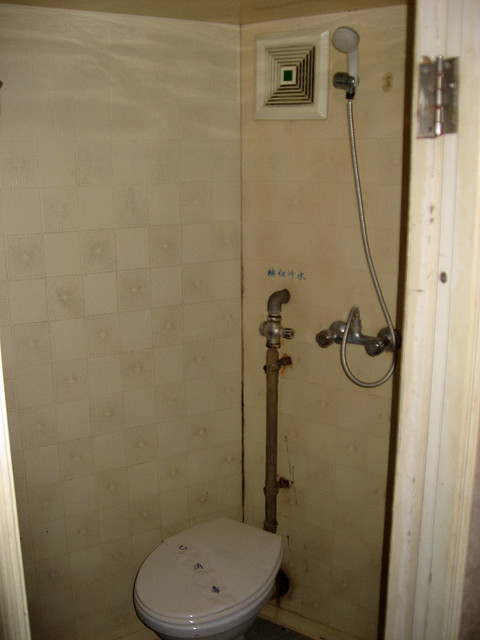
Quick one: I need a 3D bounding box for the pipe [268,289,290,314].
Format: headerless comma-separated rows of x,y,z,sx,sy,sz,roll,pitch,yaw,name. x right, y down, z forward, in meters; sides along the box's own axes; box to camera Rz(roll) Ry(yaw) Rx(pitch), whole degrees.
0.123,-0.062,1.844,0.082,0.081,0.049,2,-3,-32,pipe

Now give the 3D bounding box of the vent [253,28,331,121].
0.159,-0.759,1.771,0.286,0.282,0.028,9,15,41,vent
